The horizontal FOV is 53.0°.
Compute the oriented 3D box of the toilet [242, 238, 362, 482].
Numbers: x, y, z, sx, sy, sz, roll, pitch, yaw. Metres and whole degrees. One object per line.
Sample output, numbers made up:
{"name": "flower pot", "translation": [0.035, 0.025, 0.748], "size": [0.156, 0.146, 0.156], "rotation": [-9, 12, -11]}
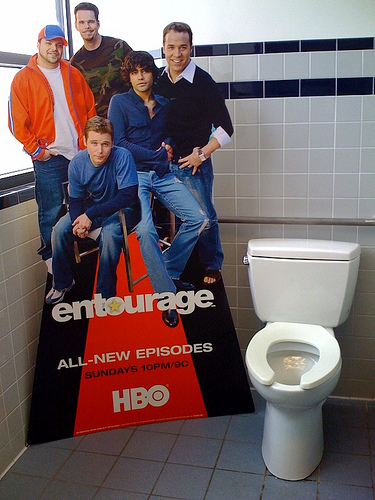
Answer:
{"name": "toilet", "translation": [0.439, 0.379, 1.387], "size": [0.444, 0.786, 0.564], "rotation": [-1, 8, 8]}

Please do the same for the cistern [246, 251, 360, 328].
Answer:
{"name": "cistern", "translation": [0.480, 0.119, 1.586], "size": [0.442, 0.333, 0.272], "rotation": [1, 22, 22]}

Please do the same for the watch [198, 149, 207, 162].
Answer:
{"name": "watch", "translation": [0.053, -0.363, 1.456], "size": [0.024, 0.039, 0.035], "rotation": [-22, 6, -16]}
